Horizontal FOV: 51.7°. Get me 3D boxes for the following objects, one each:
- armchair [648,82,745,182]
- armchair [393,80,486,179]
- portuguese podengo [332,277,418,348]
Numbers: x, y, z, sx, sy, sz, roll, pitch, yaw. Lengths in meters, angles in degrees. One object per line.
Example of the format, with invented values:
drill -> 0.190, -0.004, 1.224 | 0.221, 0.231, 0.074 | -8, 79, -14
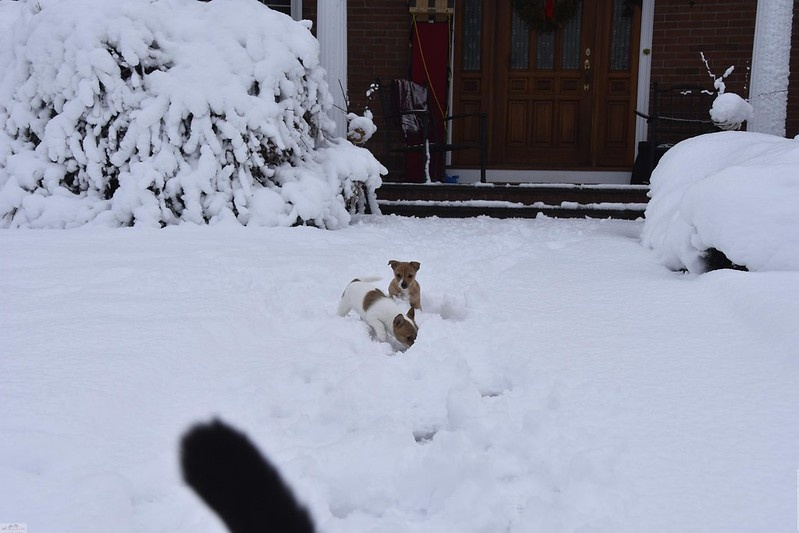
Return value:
armchair -> 3.487, -1.663, 9.898 | 0.836, 1.019, 1.135 | 3, 15, 18
armchair -> 0.533, -1.586, 9.642 | 1.128, 1.341, 1.145 | -6, 3, -13
portuguese podengo -> -0.121, 0.301, 5.390 | 0.534, 0.277, 0.334 | 36, 43, 28
